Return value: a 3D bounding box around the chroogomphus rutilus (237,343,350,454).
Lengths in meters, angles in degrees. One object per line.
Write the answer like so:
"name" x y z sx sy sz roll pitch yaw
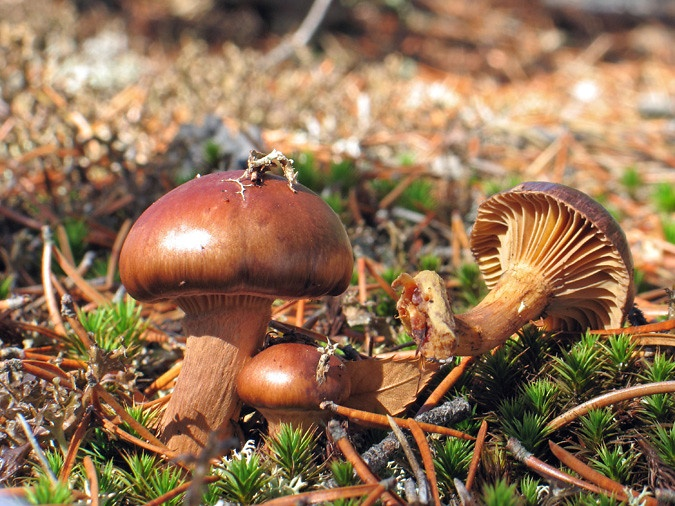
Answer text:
"chroogomphus rutilus" -0.310 1.011 4.989 0.642 0.659 0.672 8 79 -2
